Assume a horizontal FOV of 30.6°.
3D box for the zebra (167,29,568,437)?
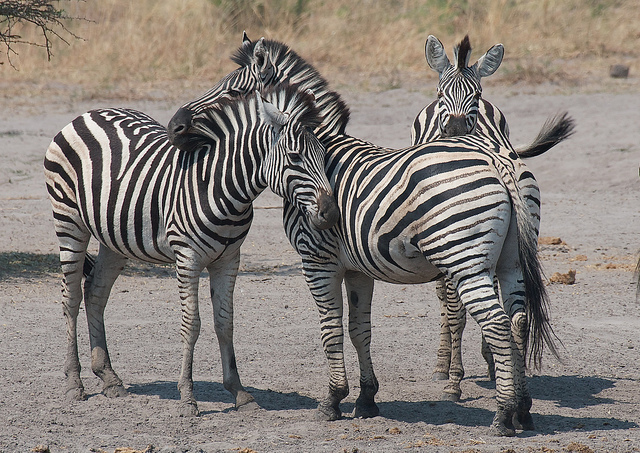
[{"bbox_3d":[0.561,0.147,13.450,5.703,3.906,1.678,7,5,41],"label":"zebra"}]
